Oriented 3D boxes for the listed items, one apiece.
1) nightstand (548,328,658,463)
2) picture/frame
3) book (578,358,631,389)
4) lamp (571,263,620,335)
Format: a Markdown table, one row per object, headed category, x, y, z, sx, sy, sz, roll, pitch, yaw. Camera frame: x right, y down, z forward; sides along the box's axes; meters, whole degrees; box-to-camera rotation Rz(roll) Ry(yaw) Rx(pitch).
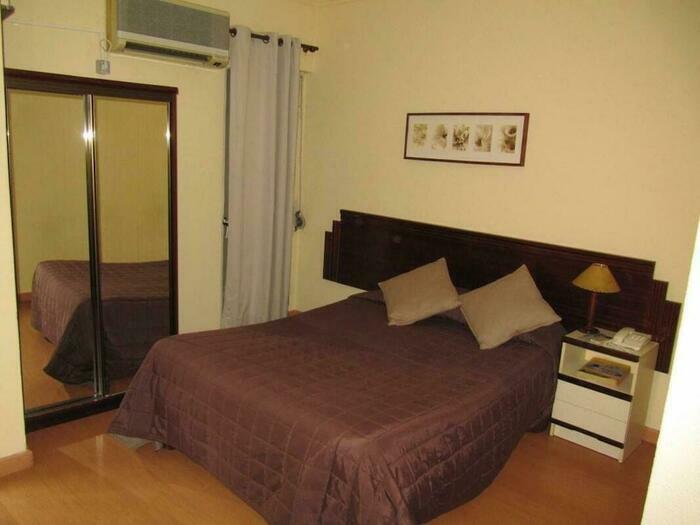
| category | x | y | z | sx | sy | sz | roll | pitch | yaw |
| --- | --- | --- | --- | --- | --- | --- | --- | --- | --- |
| nightstand | 1.917 | 1.047 | 4.261 | 0.418 | 0.848 | 0.608 | 16 | -3 | 25 |
| picture/frame | 0.977 | -1.081 | 4.788 | 1.136 | 0.427 | 0.049 | 11 | 13 | 35 |
| book | 1.903 | 0.790 | 4.047 | 0.206 | 0.058 | 0.227 | -8 | 13 | -29 |
| lamp | 1.825 | 0.277 | 4.151 | 0.297 | 0.534 | 0.319 | -2 | 8 | -20 |
